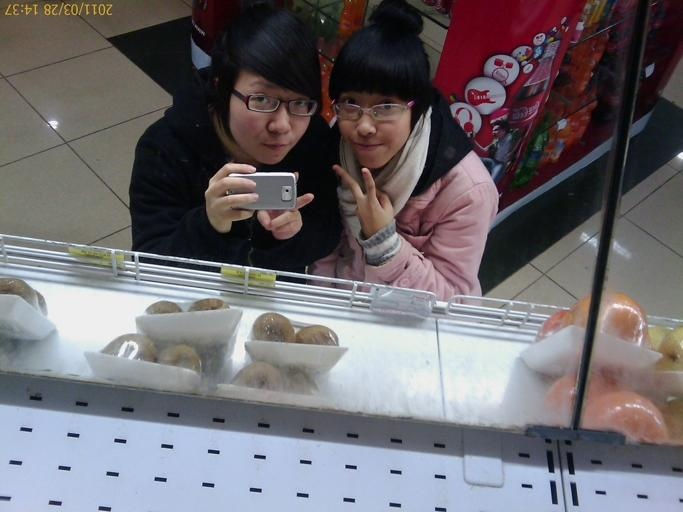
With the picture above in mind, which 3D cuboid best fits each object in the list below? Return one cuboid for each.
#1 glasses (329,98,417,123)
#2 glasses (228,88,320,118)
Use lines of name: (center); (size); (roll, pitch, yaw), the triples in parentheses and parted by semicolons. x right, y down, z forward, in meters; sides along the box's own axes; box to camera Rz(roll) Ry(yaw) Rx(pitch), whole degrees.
glasses: (0.073, -0.331, 1.663); (0.183, 0.045, 0.025); (0, 39, -8)
glasses: (-0.145, -0.328, 1.577); (0.183, 0.052, 0.020); (0, 39, -9)
